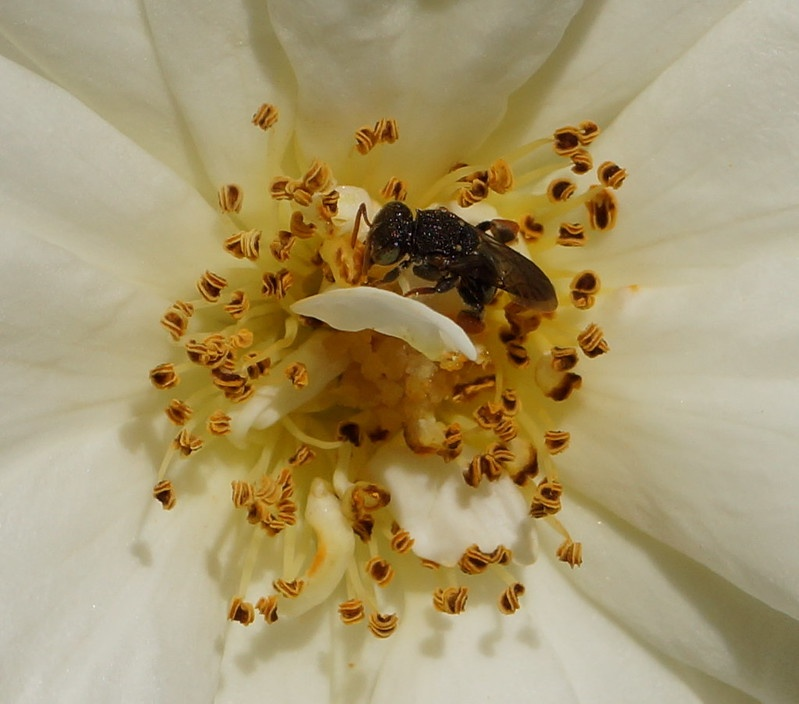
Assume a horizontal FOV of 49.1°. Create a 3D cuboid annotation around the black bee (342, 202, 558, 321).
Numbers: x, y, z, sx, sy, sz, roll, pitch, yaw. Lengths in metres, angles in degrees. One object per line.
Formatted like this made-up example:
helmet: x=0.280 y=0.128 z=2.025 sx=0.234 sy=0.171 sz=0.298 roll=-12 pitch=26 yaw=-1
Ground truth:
black bee: x=0.071 y=-0.119 z=1.218 sx=0.226 sy=0.154 sz=0.076 roll=15 pitch=-37 yaw=-21
